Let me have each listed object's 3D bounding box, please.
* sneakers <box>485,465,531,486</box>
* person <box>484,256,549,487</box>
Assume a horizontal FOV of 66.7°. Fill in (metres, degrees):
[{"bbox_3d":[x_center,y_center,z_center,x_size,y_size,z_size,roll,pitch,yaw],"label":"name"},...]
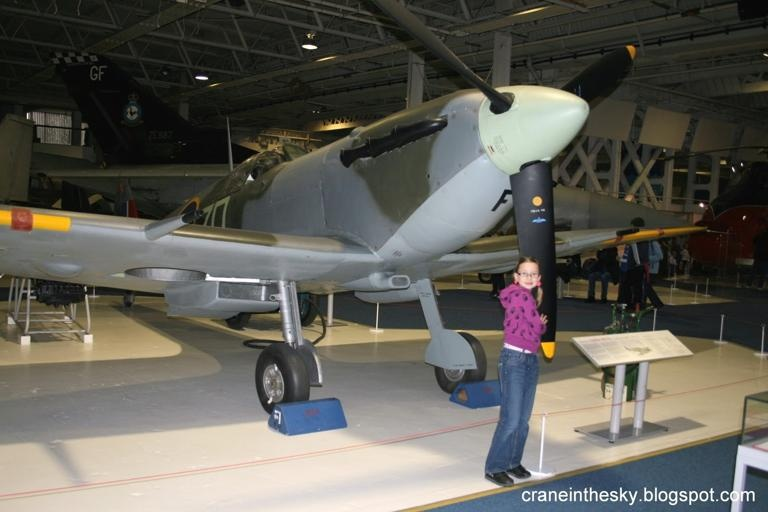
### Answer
[{"bbox_3d":[1.101,1.938,5.102,0.183,0.058,0.233,2,-5,-43],"label":"sneakers"},{"bbox_3d":[1.163,1.007,5.105,0.391,1.945,0.512,5,11,15],"label":"person"}]
